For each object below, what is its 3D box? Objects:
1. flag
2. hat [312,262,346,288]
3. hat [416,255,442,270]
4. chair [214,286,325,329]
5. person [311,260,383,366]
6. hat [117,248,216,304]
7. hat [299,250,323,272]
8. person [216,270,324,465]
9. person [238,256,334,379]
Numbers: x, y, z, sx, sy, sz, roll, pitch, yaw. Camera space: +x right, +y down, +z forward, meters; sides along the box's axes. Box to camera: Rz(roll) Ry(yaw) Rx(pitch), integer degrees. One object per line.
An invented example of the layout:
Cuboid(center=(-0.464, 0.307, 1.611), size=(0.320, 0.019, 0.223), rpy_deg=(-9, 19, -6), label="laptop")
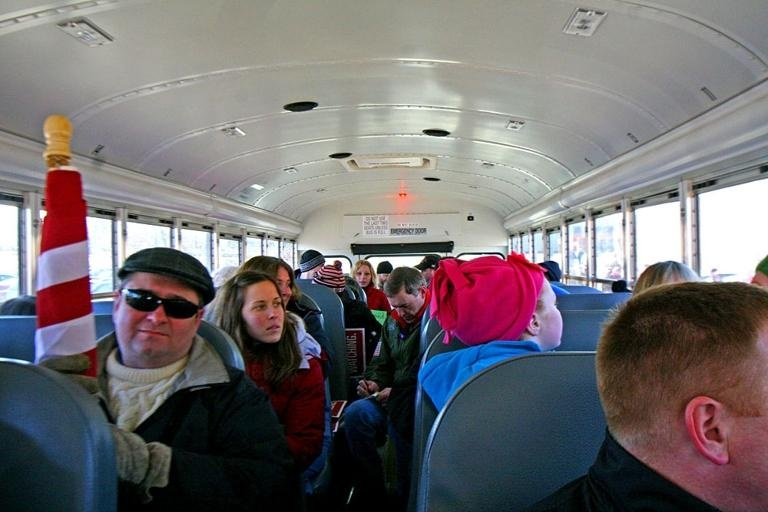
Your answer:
Cuboid(center=(-1.687, 0.079, 2.798), size=(0.435, 1.094, 0.234), rpy_deg=(-6, -9, 43), label="flag")
Cuboid(center=(-0.641, 0.270, 6.320), size=(0.366, 0.230, 0.255), rpy_deg=(23, -1, 4), label="hat")
Cuboid(center=(0.821, 0.145, 9.409), size=(0.389, 0.193, 0.243), rpy_deg=(1, -1, -14), label="hat")
Cuboid(center=(-0.922, 0.450, 4.720), size=(0.621, 0.346, 0.463), rpy_deg=(13, -6, -21), label="chair")
Cuboid(center=(-0.648, 0.653, 6.588), size=(1.125, 1.307, 0.991), rpy_deg=(-2, -3, 19), label="person")
Cuboid(center=(-1.235, 0.089, 3.006), size=(0.527, 0.178, 0.577), rpy_deg=(13, -11, -30), label="hat")
Cuboid(center=(-1.074, 0.086, 7.778), size=(0.397, 0.283, 0.275), rpy_deg=(-16, 5, 1), label="hat")
Cuboid(center=(-0.815, 0.728, 3.607), size=(0.751, 1.145, 0.913), rpy_deg=(1, 17, -9), label="person")
Cuboid(center=(-0.876, 0.538, 4.707), size=(0.909, 1.231, 1.057), rpy_deg=(0, -18, -24), label="person")
